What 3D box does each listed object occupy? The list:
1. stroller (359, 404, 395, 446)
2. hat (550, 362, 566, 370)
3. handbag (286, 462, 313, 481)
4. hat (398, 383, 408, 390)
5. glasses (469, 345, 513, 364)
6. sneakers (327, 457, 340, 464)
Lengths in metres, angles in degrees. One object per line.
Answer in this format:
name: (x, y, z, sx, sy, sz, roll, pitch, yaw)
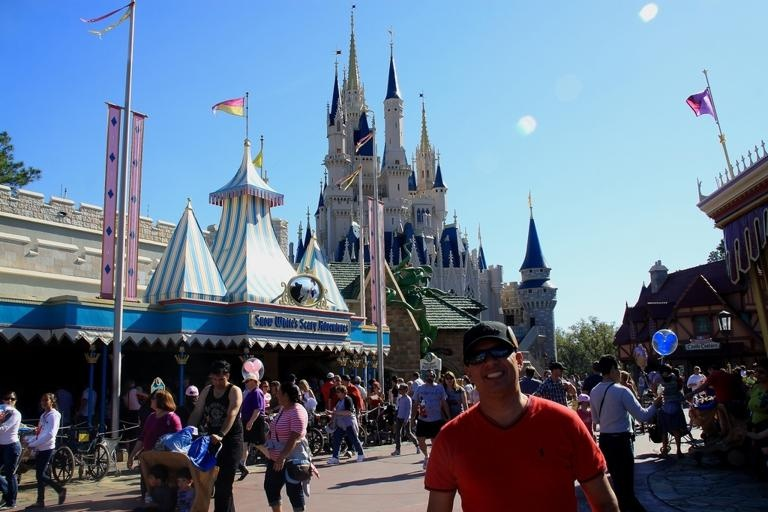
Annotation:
stroller: (-0.166, 5.039, 21.495, 1.181, 1.091, 0.766, -4, -9, 24)
hat: (3.318, 2.093, 13.699, 0.232, 0.104, 0.173, 6, -3, -17)
handbag: (-1.344, 3.508, 11.746, 0.441, 0.316, 0.175, 9, -21, -37)
hat: (0.528, 3.504, 19.316, 0.203, 0.218, 0.173, -1, -1, -16)
glasses: (1.217, 1.134, 8.261, 0.504, 0.171, 0.084, -6, -17, 4)
sneakers: (-1.244, 4.959, 17.469, 0.313, 0.150, 0.117, -8, -23, 33)
